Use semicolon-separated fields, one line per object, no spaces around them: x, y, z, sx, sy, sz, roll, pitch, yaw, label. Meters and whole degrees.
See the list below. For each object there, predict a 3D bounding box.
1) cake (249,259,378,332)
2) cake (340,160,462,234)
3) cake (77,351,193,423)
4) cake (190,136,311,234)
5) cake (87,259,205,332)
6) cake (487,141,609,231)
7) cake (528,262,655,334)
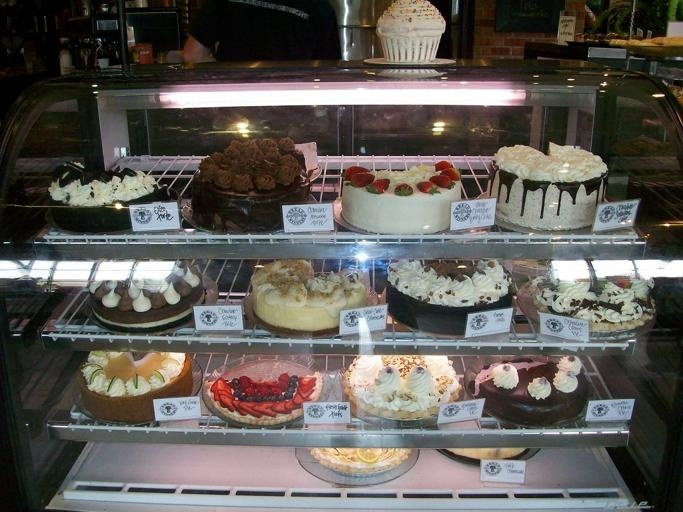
-0.147;0.176;2.485;0.398;0.140;0.422;-19;30;-39;cake
0.249;-0.250;2.307;0.422;0.151;0.374;5;21;12;cake
-1.034;0.618;2.630;0.480;0.151;0.425;3;13;8;cake
-0.416;-0.318;2.396;0.529;0.303;0.472;0;23;4;cake
-0.909;0.190;2.492;0.393;0.141;0.357;-6;17;-24;cake
0.883;-0.328;2.353;0.484;0.237;0.415;-1;26;-3;cake
1.186;0.215;2.462;0.386;0.095;0.357;3;15;21;cake
